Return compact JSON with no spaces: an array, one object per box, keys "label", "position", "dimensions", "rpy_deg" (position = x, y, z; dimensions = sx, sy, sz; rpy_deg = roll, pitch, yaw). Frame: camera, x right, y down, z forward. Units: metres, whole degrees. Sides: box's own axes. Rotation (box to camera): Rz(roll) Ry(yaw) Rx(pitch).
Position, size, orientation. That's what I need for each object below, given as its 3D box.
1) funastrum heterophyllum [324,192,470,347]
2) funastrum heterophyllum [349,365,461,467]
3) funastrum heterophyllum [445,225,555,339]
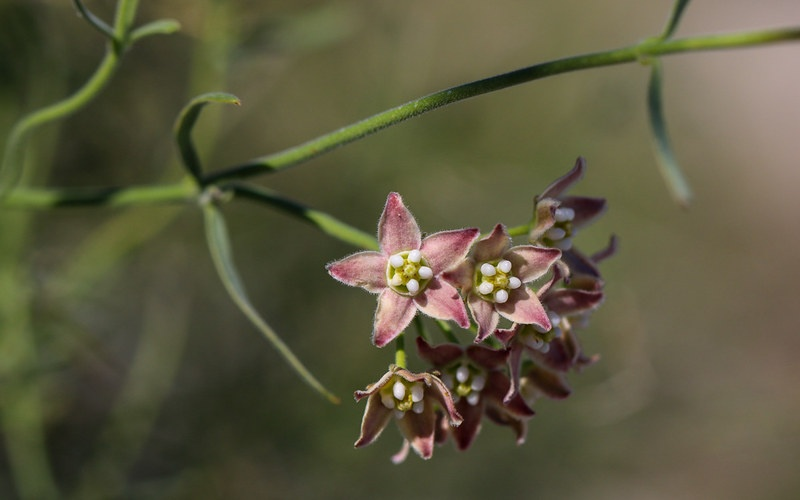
[{"label":"funastrum heterophyllum","position":[0.068,0.087,4.271],"dimensions":[0.682,0.690,0.285],"rpy_deg":[-28,-40,-10]},{"label":"funastrum heterophyllum","position":[0.019,0.727,4.274],"dimensions":[0.400,0.196,0.502],"rpy_deg":[-6,-80,-11]},{"label":"funastrum heterophyllum","position":[0.474,0.155,4.485],"dimensions":[0.480,0.219,0.534],"rpy_deg":[-28,-82,2]}]
